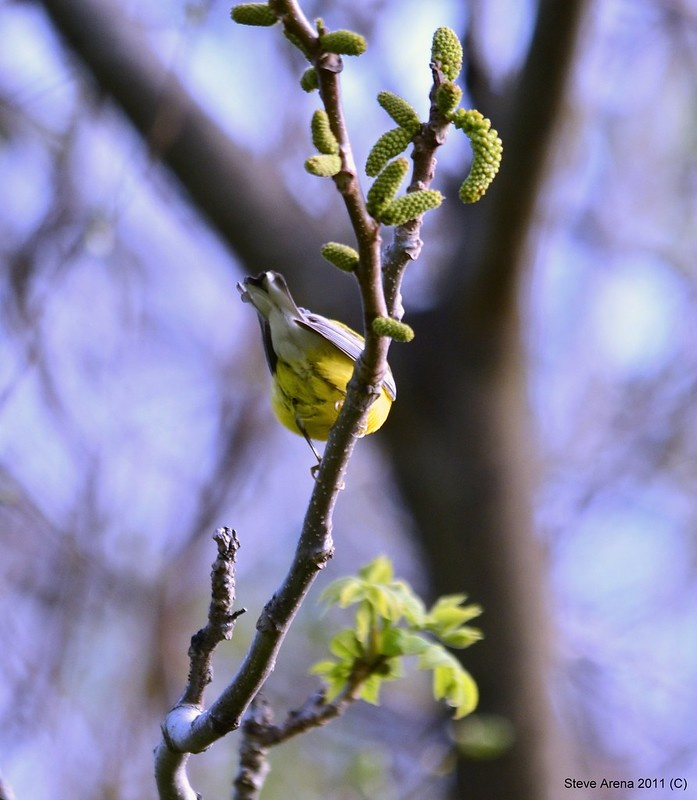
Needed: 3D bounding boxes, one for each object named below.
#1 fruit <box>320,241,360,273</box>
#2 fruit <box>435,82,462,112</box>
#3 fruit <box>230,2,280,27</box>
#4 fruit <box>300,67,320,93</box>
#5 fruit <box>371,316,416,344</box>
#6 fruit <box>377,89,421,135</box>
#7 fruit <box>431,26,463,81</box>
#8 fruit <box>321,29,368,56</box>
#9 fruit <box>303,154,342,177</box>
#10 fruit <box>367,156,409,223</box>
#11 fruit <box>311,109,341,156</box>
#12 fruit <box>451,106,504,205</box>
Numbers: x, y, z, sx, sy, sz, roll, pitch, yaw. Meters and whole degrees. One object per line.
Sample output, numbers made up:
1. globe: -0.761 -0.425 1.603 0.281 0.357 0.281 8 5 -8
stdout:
1. fruit: -0.015 -0.296 2.817 0.075 0.066 0.080 0 3 0
2. fruit: 0.210 -0.633 2.830 0.050 0.064 0.057 -1 12 -1
3. fruit: -0.199 -0.819 2.880 0.102 0.049 0.197 0 2 -4
4. fruit: -0.079 -0.685 2.930 0.034 0.065 0.050 6 -25 8
5. fruit: 0.089 -0.146 2.788 0.074 0.048 0.123 0 2 -2
6. fruit: 0.110 -0.614 2.897 0.059 0.102 0.103 -3 4 -40
7. fruit: 0.209 -0.737 2.880 0.062 0.128 0.083 0 3 3
8. fruit: -0.010 -0.731 2.765 0.074 0.056 0.026 0 -5 2
9. fruit: -0.053 -0.475 2.723 0.038 0.047 0.097 2 3 34
10. fruit: 0.081 -0.432 2.782 0.088 0.127 0.045 0 3 9
11. fruit: -0.046 -0.548 2.770 0.046 0.099 0.061 -2 3 -29
12. fruit: 0.277 -0.492 2.836 0.105 0.210 0.070 -18 -27 33
